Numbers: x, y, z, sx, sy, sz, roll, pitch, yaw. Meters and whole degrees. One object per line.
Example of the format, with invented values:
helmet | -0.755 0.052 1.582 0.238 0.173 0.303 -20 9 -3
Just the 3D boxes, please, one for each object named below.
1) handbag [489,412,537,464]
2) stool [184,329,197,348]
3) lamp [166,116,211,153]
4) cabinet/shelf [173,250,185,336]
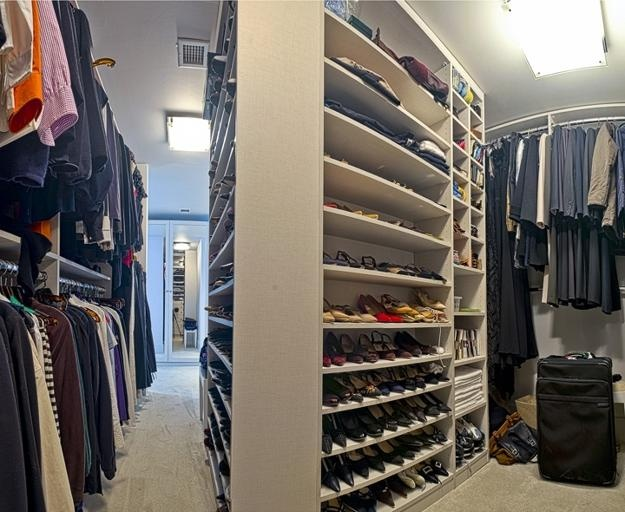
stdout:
handbag | 1.504 1.372 3.409 0.326 0.284 0.359 1 -3 -2
stool | -2.097 1.419 7.693 0.256 0.405 0.258 4 -7 -32
lamp | -1.226 -1.221 4.456 0.298 0.091 0.347 6 -18 -7
cabinet/shelf | -2.306 0.634 7.682 0.208 1.477 0.224 2 -3 -25
